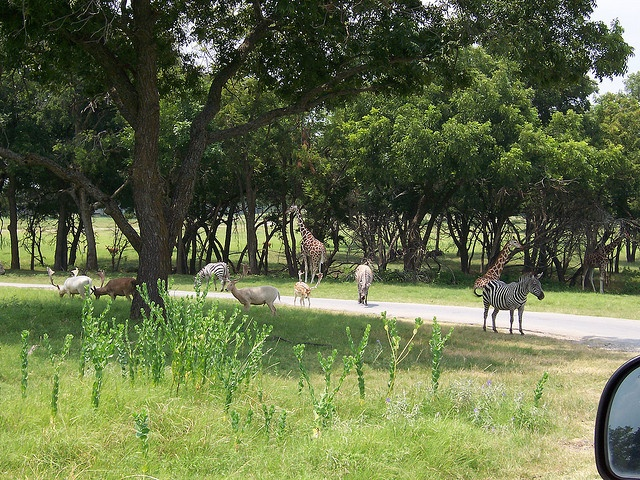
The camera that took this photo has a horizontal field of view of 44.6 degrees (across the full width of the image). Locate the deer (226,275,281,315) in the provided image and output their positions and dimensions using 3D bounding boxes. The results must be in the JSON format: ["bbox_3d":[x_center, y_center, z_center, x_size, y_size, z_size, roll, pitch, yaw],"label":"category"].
[{"bbox_3d":[-1.915,1.703,22.561,1.388,1.034,0.685,0,12,-7],"label":"deer"}]

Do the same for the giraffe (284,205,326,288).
[{"bbox_3d":[-0.377,0.262,33.309,1.327,4.080,1.276,2,8,24],"label":"giraffe"}]

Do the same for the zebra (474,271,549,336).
[{"bbox_3d":[5.466,1.806,22.153,0.643,1.731,2.017,-2,0,-40],"label":"zebra"}]

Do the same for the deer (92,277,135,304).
[{"bbox_3d":[-6.465,1.583,24.499,1.488,0.913,0.511,-9,-9,20],"label":"deer"}]

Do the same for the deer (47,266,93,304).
[{"bbox_3d":[-8.065,1.488,25.489,1.525,1.365,1.120,-4,-2,32],"label":"deer"}]
